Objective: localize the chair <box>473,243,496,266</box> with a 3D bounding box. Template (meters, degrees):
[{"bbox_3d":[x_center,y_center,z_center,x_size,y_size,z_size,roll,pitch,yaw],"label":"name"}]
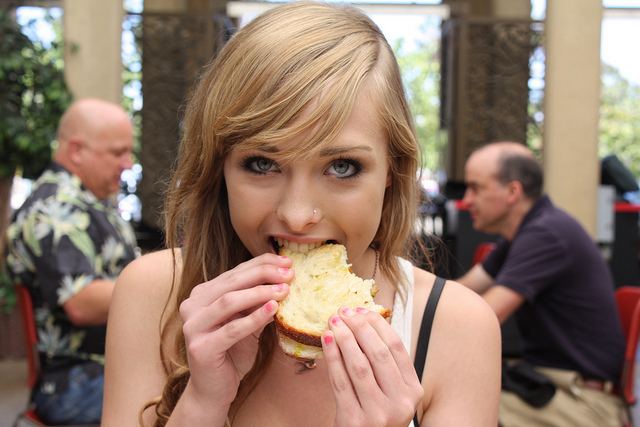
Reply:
[{"bbox_3d":[1.658,0.397,6.409,0.192,0.217,0.242,37,22,6],"label":"chair"}]

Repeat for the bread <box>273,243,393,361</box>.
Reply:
[{"bbox_3d":[0.055,0.421,3.273,0.565,0.505,0.223,1,9,2],"label":"bread"}]
